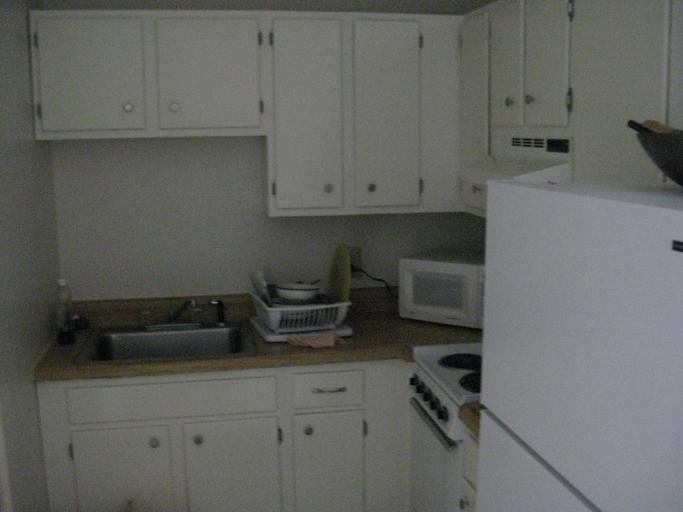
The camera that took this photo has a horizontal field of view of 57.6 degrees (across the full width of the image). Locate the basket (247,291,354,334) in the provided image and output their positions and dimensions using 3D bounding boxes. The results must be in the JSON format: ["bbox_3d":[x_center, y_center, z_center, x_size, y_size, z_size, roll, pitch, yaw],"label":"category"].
[{"bbox_3d":[-0.167,0.230,2.556,0.401,0.137,0.239,-2,9,0],"label":"basket"}]

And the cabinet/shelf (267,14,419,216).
[{"bbox_3d":[-0.016,-0.617,2.583,0.800,0.969,0.465,-1,4,-9],"label":"cabinet/shelf"}]

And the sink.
[{"bbox_3d":[-0.755,0.373,2.641,0.704,0.142,0.280,-6,10,-27],"label":"sink"}]

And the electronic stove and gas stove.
[{"bbox_3d":[0.331,0.425,2.018,0.203,0.118,0.305,1,5,-9],"label":"electronic stove and gas stove"}]
